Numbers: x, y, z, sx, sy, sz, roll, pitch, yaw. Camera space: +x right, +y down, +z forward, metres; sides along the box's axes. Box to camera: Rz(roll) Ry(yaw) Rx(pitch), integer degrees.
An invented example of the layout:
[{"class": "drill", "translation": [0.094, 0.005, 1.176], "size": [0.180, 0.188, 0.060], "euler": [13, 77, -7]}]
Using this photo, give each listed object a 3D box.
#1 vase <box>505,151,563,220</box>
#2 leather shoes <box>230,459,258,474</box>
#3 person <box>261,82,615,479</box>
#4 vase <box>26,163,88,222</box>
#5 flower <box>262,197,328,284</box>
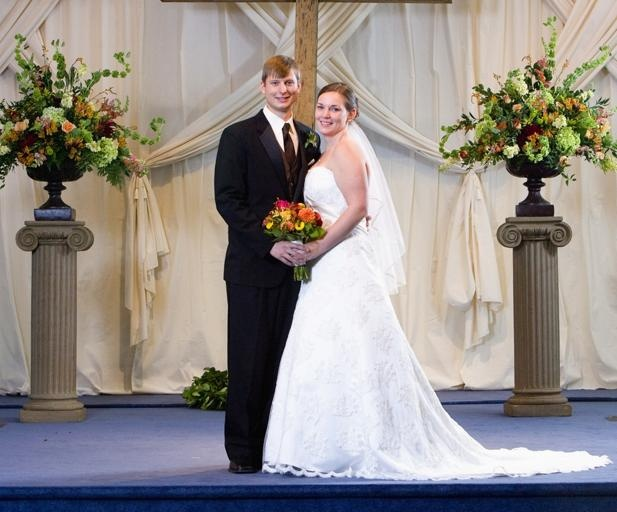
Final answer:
[{"class": "vase", "translation": [1.611, -0.517, 7.215], "size": [0.425, 0.442, 0.403], "euler": [0, -4, -1]}, {"class": "leather shoes", "translation": [-0.357, 1.157, 5.502], "size": [0.138, 0.057, 0.066], "euler": [-7, -9, 40]}, {"class": "person", "translation": [0.450, 0.106, 5.565], "size": [1.409, 2.154, 0.690], "euler": [0, 5, -2]}, {"class": "vase", "translation": [-1.797, -0.459, 7.188], "size": [0.418, 0.406, 0.410], "euler": [-3, -7, 37]}, {"class": "flower", "translation": [-0.034, -0.103, 5.475], "size": [0.411, 0.473, 0.426], "euler": [-2, 8, 3]}]
